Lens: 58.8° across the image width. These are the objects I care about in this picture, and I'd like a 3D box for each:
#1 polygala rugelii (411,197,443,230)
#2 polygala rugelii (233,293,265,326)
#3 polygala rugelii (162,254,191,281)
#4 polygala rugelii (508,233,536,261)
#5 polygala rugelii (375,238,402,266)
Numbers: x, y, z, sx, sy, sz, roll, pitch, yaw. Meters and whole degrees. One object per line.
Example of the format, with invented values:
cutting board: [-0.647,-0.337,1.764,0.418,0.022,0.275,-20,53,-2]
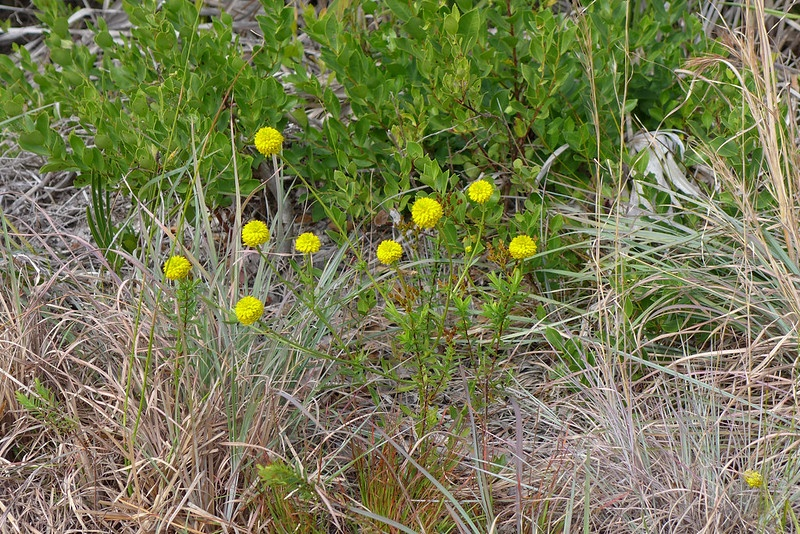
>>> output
polygala rugelii: [0.085,-0.173,2.309,0.083,0.097,0.104,10,67,35]
polygala rugelii: [-0.476,0.132,2.268,0.081,0.087,0.102,-2,91,15]
polygala rugelii: [-0.721,0.010,2.303,0.068,0.074,0.089,-6,80,35]
polygala rugelii: [0.417,-0.069,2.420,0.068,0.053,0.072,10,24,41]
polygala rugelii: [-0.040,-0.050,2.329,0.064,0.081,0.082,-10,53,4]
